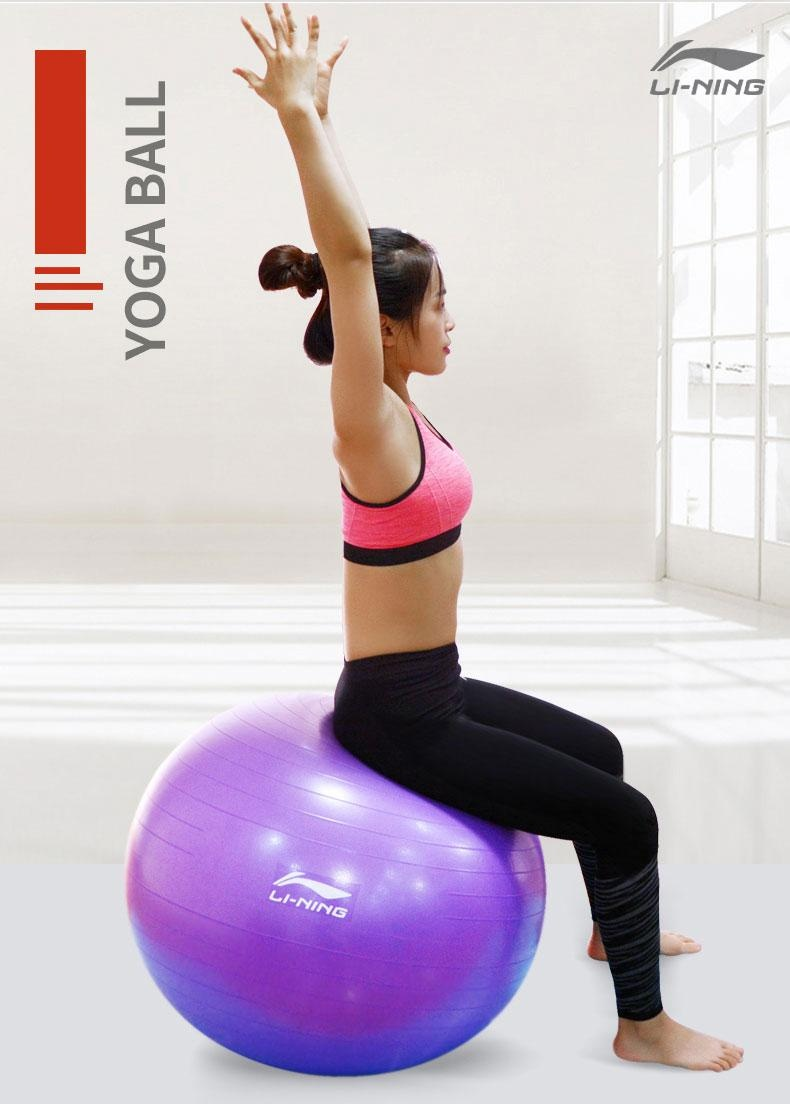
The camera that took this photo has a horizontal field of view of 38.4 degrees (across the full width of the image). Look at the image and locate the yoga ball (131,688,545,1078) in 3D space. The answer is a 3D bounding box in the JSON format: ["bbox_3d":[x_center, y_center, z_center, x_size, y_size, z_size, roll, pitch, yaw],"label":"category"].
[{"bbox_3d":[-0.011,0.412,1.516,0.482,0.311,0.466,16,-2,0],"label":"yoga ball"}]

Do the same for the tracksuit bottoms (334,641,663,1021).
[{"bbox_3d":[0.154,0.361,1.529,0.535,0.468,0.333,6,5,-3],"label":"tracksuit bottoms"}]
